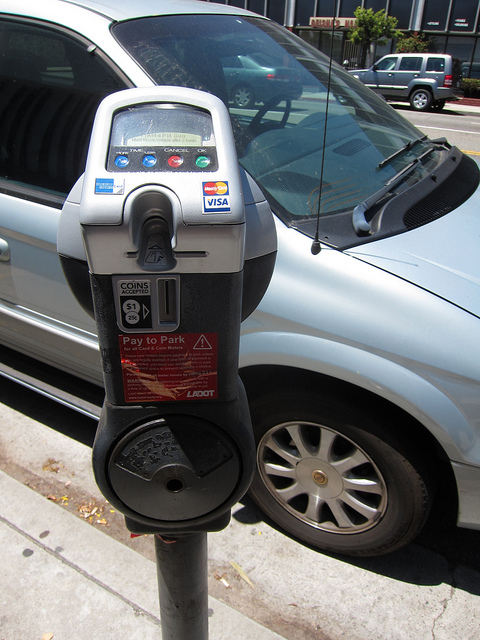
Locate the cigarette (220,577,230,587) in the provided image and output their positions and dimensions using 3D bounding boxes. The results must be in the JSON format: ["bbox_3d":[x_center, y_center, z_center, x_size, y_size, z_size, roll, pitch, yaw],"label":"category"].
[{"bbox_3d":[-0.051,0.945,1.795,0.036,0.009,0.010,39,22,8],"label":"cigarette"}]

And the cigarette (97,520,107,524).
[{"bbox_3d":[-0.550,0.812,2.007,0.027,0.009,0.015,2,4,0],"label":"cigarette"}]

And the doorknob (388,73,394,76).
[{"bbox_3d":[4.724,-7.740,15.666,0.036,0.073,0.185,-8,26,-26],"label":"doorknob"}]

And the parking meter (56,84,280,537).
[{"bbox_3d":[-0.102,0.010,0.846,0.272,0.742,0.282,2,24,-5],"label":"parking meter"}]

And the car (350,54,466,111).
[{"bbox_3d":[5.641,-7.597,15.882,3.863,1.670,1.867,16,31,26],"label":"car"}]
